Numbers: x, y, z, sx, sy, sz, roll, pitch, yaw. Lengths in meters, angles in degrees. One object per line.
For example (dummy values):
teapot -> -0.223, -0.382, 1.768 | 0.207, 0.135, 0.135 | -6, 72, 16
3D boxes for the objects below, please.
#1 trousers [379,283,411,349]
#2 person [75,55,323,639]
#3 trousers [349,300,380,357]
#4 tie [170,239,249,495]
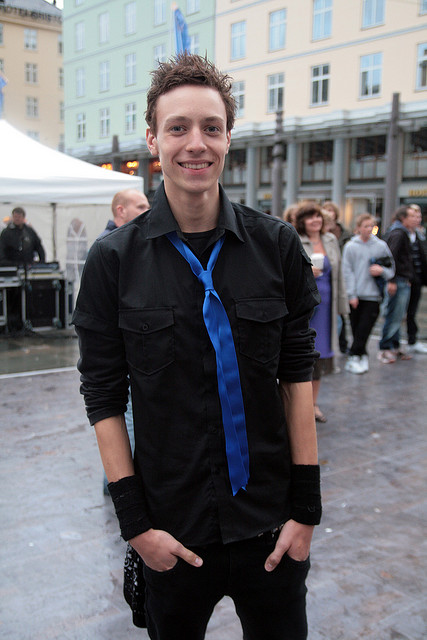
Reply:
trousers -> 2.345, -0.046, 7.984 | 0.541, 0.887, 0.287 | -5, 9, -39
person -> -0.030, 0.067, 1.309 | 0.525, 1.264, 0.339 | 1, 7, 10
trousers -> 1.853, 0.094, 7.470 | 0.344, 0.698, 0.325 | 2, 7, 13
tie -> 0.026, 0.098, 1.243 | 0.103, 0.470, 0.023 | -2, -7, -16
